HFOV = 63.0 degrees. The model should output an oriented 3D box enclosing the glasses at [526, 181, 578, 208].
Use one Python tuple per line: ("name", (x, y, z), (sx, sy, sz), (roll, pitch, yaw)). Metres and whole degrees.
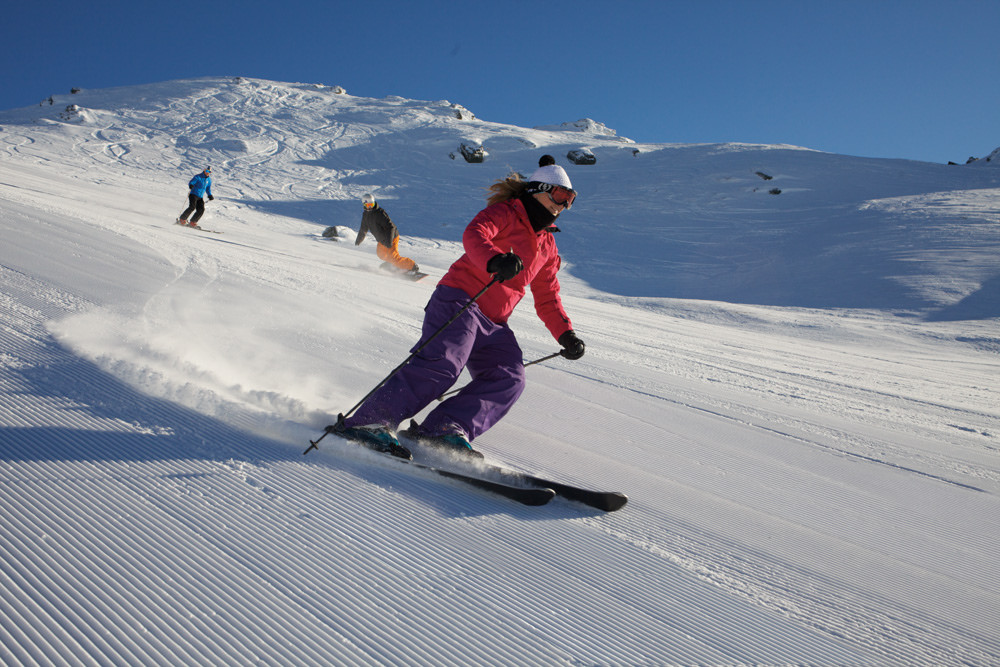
("glasses", (0.393, -1.064, 6.203), (0.321, 0.087, 0.249), (14, -3, 34))
